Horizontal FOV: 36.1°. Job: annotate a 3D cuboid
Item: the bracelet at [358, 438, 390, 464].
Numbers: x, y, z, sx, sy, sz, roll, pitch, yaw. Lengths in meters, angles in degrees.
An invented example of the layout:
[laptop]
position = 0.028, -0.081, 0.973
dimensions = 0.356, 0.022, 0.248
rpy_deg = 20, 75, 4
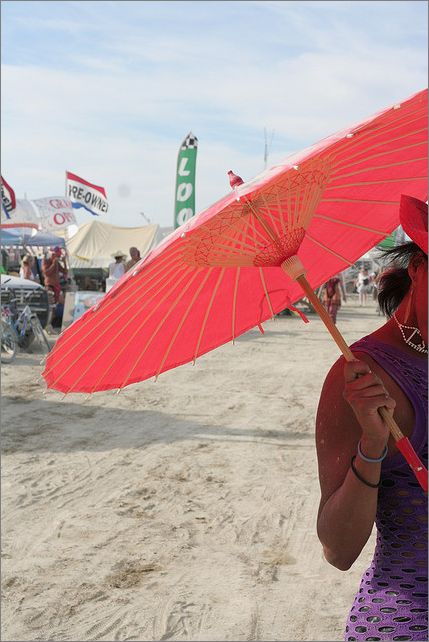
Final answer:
[bracelet]
position = 0.274, 0.229, 1.181
dimensions = 0.044, 0.041, 0.017
rpy_deg = 2, 21, 18
